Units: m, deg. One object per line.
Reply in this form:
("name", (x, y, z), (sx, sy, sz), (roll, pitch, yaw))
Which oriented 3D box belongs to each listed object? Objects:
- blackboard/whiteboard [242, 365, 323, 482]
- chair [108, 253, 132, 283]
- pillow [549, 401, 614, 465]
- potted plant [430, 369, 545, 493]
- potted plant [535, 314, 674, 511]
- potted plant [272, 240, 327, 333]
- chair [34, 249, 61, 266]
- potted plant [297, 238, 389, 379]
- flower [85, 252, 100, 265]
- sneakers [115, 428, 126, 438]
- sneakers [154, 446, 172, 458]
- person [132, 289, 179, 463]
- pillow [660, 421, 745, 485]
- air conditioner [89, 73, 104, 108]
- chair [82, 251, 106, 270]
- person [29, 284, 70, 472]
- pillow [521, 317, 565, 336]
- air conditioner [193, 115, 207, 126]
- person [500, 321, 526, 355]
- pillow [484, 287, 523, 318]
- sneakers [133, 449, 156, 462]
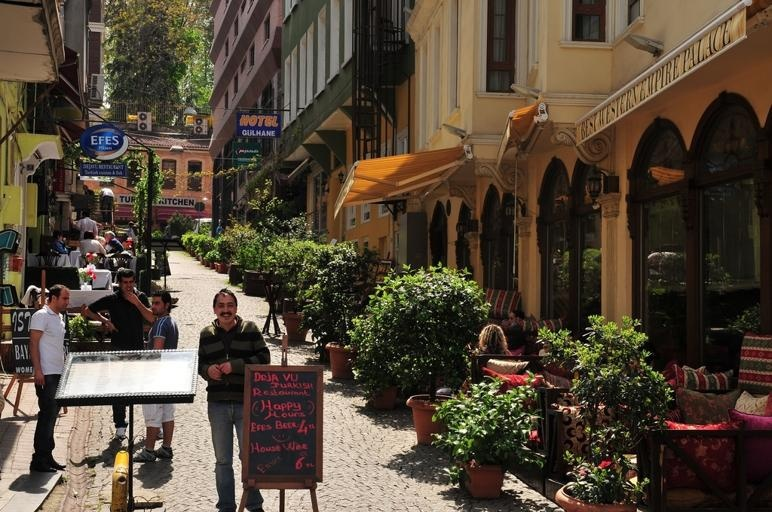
("blackboard/whiteboard", (-1.143, 1.835, 9.177), (1.078, 1.650, 0.252), (1, -12, -8))
("chair", (-6.733, 0.256, 21.466), (0.626, 1.054, 0.751), (-2, 11, -19))
("pillow", (2.382, 2.033, 10.177), (0.299, 0.554, 0.537), (-4, -7, -28))
("potted plant", (1.262, 2.171, 10.730), (1.155, 1.318, 1.384), (2, -6, -2))
("potted plant", (2.709, 1.666, 10.040), (1.646, 2.723, 1.834), (1, 2, 3))
("potted plant", (-2.300, 0.686, 23.078), (1.522, 1.740, 1.352), (3, -8, -13))
("chair", (-9.220, 0.062, 23.057), (0.520, 0.753, 0.510), (1, -3, -11))
("potted plant", (-1.321, 1.046, 18.444), (2.078, 3.331, 2.585), (4, -3, 1))
("flower", (-9.061, 0.041, 26.160), (0.349, 0.338, 0.347), (7, 5, 40))
("sneakers", (-3.927, 2.586, 12.569), (0.144, 0.155, 0.278), (4, -4, -5))
("sneakers", (-3.020, 2.656, 11.558), (0.225, 0.165, 0.224), (5, -5, -15))
("person", (-3.135, 1.623, 11.757), (0.506, 2.307, 1.060), (5, -4, -15))
("pillow", (3.224, 2.013, 8.628), (0.546, 0.556, 0.198), (0, -2, 6))
("air conditioner", (-12.502, -7.262, 36.507), (0.684, 1.060, 0.723), (8, 8, 36))
("chair", (-9.075, 0.200, 26.312), (0.597, 0.937, 0.639), (0, 13, -12))
("person", (-4.438, 1.547, 11.160), (0.527, 2.366, 0.876), (5, -4, -24))
("pillow", (2.799, 1.207, 15.347), (0.744, 0.263, 0.801), (0, 3, 5))
("air conditioner", (-11.387, -8.268, 51.906), (0.818, 0.605, 0.897), (0, 4, -8))
("person", (2.260, 1.403, 15.036), (0.363, 0.651, 0.706), (0, 1, 10))
("pillow", (2.390, 0.926, 17.174), (0.669, 0.691, 0.182), (8, -4, 36))
("sneakers", (-3.264, 2.646, 11.452), (0.241, 0.125, 0.152), (2, 1, 12))
